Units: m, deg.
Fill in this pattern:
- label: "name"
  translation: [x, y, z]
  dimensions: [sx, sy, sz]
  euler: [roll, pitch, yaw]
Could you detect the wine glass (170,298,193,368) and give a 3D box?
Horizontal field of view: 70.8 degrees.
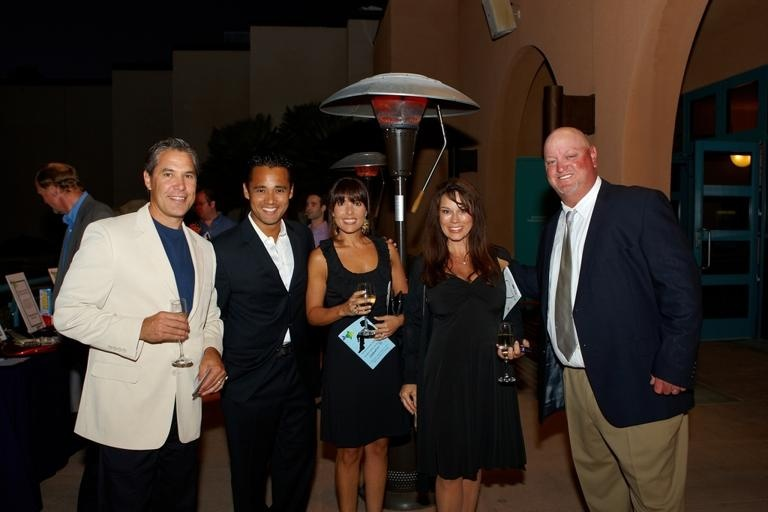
- label: "wine glass"
  translation: [-1.279, 0.497, 3.434]
  dimensions: [0.126, 0.441, 0.094]
  euler: [-3, 3, -35]
